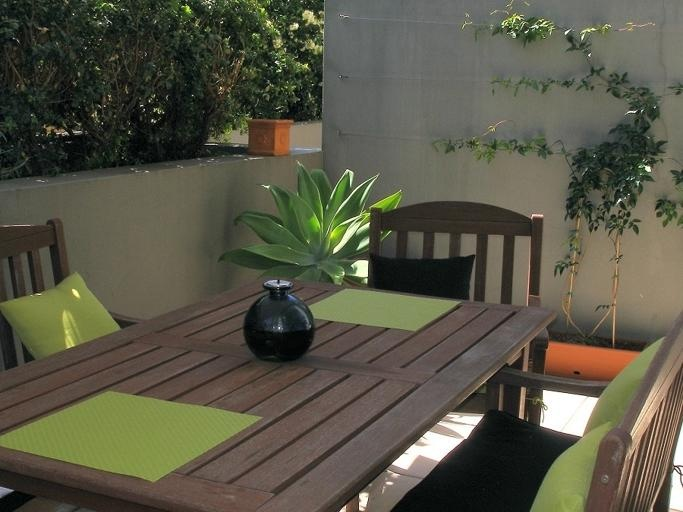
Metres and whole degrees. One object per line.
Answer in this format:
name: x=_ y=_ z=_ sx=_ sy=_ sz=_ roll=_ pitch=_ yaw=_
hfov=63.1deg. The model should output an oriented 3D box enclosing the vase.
vase: x=-0.178 y=0.176 z=1.604 sx=0.201 sy=0.215 sz=0.210 roll=6 pitch=11 yaw=26
